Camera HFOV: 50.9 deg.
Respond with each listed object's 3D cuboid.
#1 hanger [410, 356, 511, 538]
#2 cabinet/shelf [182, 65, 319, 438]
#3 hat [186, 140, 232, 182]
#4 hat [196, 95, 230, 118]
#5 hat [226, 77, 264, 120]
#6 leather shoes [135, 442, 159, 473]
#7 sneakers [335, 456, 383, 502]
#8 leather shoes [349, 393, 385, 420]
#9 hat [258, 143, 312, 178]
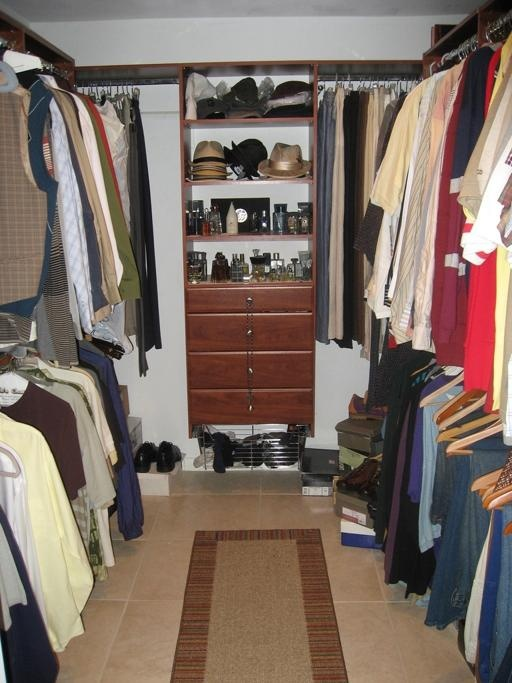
[{"bbox_3d":[0.604,0.261,1.604,0.107,0.407,0.267,3,-1,-19],"label":"hanger"},{"bbox_3d":[-0.028,-0.404,2.785,0.582,1.869,0.407,1,17,4],"label":"cabinet/shelf"},{"bbox_3d":[-0.240,-0.905,2.699,0.187,0.207,0.164,-3,8,-14],"label":"hat"},{"bbox_3d":[-0.212,-1.147,2.635,0.156,0.116,0.071,-2,8,-5],"label":"hat"},{"bbox_3d":[-0.059,-1.192,2.650,0.205,0.230,0.148,-10,19,-10],"label":"hat"},{"bbox_3d":[-0.591,0.618,2.883,0.064,0.095,0.198,0,14,1],"label":"leather shoes"},{"bbox_3d":[0.490,0.592,2.429,0.191,0.081,0.150,-16,5,-40],"label":"sneakers"},{"bbox_3d":[0.578,0.352,2.882,0.223,0.131,0.080,0,3,42],"label":"leather shoes"},{"bbox_3d":[0.144,-0.896,2.670,0.268,0.190,0.143,-1,8,1],"label":"hat"}]
